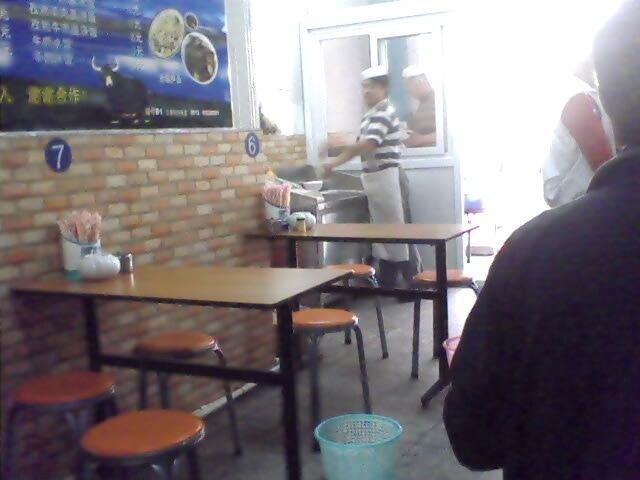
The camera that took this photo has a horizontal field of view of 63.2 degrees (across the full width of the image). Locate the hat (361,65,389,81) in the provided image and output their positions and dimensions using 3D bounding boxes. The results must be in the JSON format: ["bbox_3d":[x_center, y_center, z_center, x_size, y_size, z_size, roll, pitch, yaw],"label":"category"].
[{"bbox_3d":[0.493,-1.521,4.718,0.214,0.137,0.210,-2,9,2],"label":"hat"}]

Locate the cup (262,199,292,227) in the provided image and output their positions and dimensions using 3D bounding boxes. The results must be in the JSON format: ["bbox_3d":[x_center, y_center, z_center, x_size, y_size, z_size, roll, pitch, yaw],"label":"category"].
[{"bbox_3d":[-0.272,-0.160,3.245,0.167,0.145,0.133,2,5,9],"label":"cup"}]

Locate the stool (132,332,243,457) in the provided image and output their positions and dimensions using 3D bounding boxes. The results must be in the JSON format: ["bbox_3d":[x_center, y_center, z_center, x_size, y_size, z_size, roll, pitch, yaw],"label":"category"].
[{"bbox_3d":[-0.585,0.667,2.368,0.425,0.491,0.406,-1,5,-27],"label":"stool"}]

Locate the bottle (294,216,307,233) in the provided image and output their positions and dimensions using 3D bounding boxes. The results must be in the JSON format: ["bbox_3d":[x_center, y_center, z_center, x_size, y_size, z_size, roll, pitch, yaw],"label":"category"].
[{"bbox_3d":[-0.119,-0.097,3.246,0.084,0.093,0.084,-1,-3,3],"label":"bottle"}]

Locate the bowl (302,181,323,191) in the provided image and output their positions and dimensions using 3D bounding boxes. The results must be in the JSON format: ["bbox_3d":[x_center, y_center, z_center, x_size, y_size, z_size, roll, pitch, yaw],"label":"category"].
[{"bbox_3d":[-0.072,-0.478,4.500,0.150,0.068,0.117,-1,4,22],"label":"bowl"}]

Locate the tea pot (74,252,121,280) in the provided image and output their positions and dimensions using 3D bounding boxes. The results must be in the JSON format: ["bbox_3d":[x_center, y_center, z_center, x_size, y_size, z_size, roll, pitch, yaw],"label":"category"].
[{"bbox_3d":[-0.906,0.103,2.101,0.100,0.079,0.133,8,2,24],"label":"tea pot"}]

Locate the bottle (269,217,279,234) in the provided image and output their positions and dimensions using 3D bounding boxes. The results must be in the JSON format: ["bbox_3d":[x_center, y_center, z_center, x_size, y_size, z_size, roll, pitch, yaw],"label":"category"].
[{"bbox_3d":[-0.292,-0.097,3.254,0.069,0.096,0.031,9,13,7],"label":"bottle"}]

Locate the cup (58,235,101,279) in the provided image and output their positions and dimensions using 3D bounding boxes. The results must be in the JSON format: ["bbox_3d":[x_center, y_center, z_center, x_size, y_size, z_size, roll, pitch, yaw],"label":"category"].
[{"bbox_3d":[-1.013,0.068,2.235,0.177,0.175,0.126,1,3,10],"label":"cup"}]

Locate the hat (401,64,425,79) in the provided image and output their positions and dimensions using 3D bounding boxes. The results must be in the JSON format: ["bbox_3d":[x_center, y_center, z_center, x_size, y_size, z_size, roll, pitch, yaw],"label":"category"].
[{"bbox_3d":[0.925,-1.672,5.120,0.171,0.090,0.120,7,23,27],"label":"hat"}]
